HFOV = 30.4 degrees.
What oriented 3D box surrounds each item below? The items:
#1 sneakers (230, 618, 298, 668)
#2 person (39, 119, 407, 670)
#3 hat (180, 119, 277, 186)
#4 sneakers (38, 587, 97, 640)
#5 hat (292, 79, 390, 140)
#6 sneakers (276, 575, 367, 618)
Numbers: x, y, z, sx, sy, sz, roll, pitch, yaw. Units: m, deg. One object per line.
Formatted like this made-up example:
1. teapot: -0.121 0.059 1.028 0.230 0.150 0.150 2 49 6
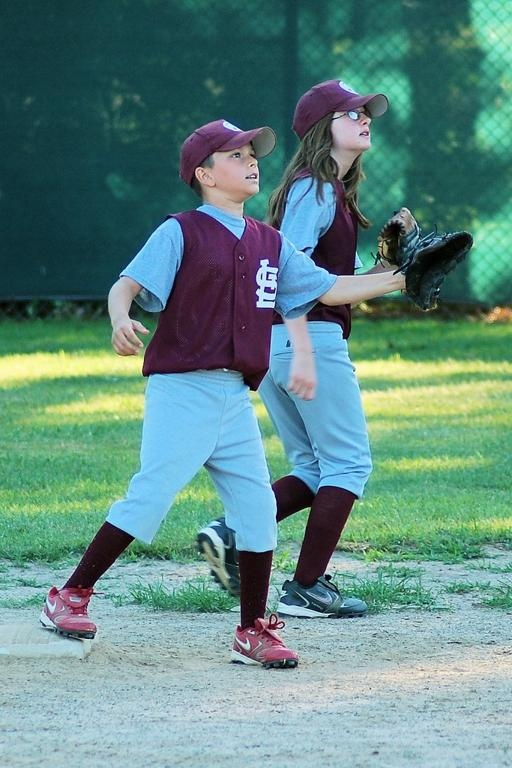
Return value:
1. sneakers: 0.019 0.660 2.391 0.173 0.111 0.059 -2 -1 44
2. person: -0.091 0.006 2.495 0.814 1.421 0.422 0 -1 -29
3. hat: -0.102 -0.638 2.539 0.246 0.111 0.153 -26 -1 25
4. sneakers: -0.484 0.595 2.476 0.084 0.102 0.217 10 -6 -34
5. hat: 0.244 -0.897 3.087 0.306 0.130 0.179 -24 -4 12
6. sneakers: 0.189 0.676 2.976 0.328 0.128 0.106 2 -5 -5
